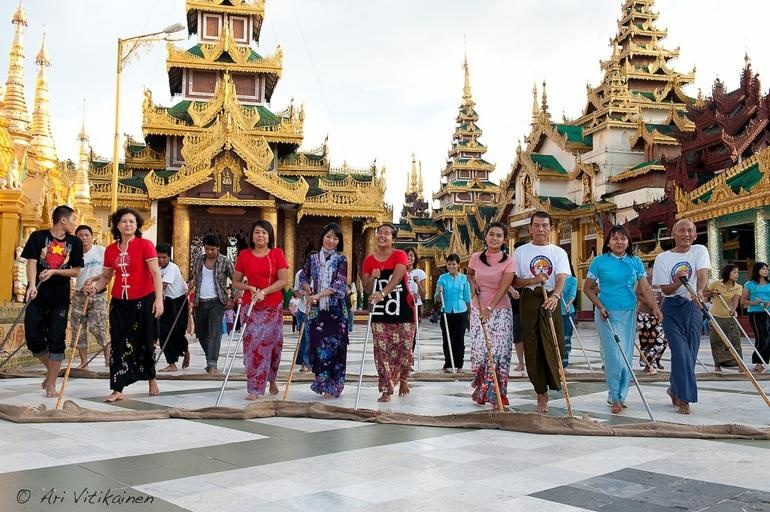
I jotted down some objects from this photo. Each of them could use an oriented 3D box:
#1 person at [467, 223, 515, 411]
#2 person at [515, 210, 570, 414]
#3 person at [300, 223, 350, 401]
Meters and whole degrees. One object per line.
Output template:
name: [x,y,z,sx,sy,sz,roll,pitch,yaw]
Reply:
person: [1.338,0.728,9.656,0.567,2.281,0.930,1,2,-5]
person: [1.885,0.664,9.479,0.634,2.398,0.717,1,2,9]
person: [-0.753,0.706,10.225,0.762,2.225,0.725,2,-6,-16]
